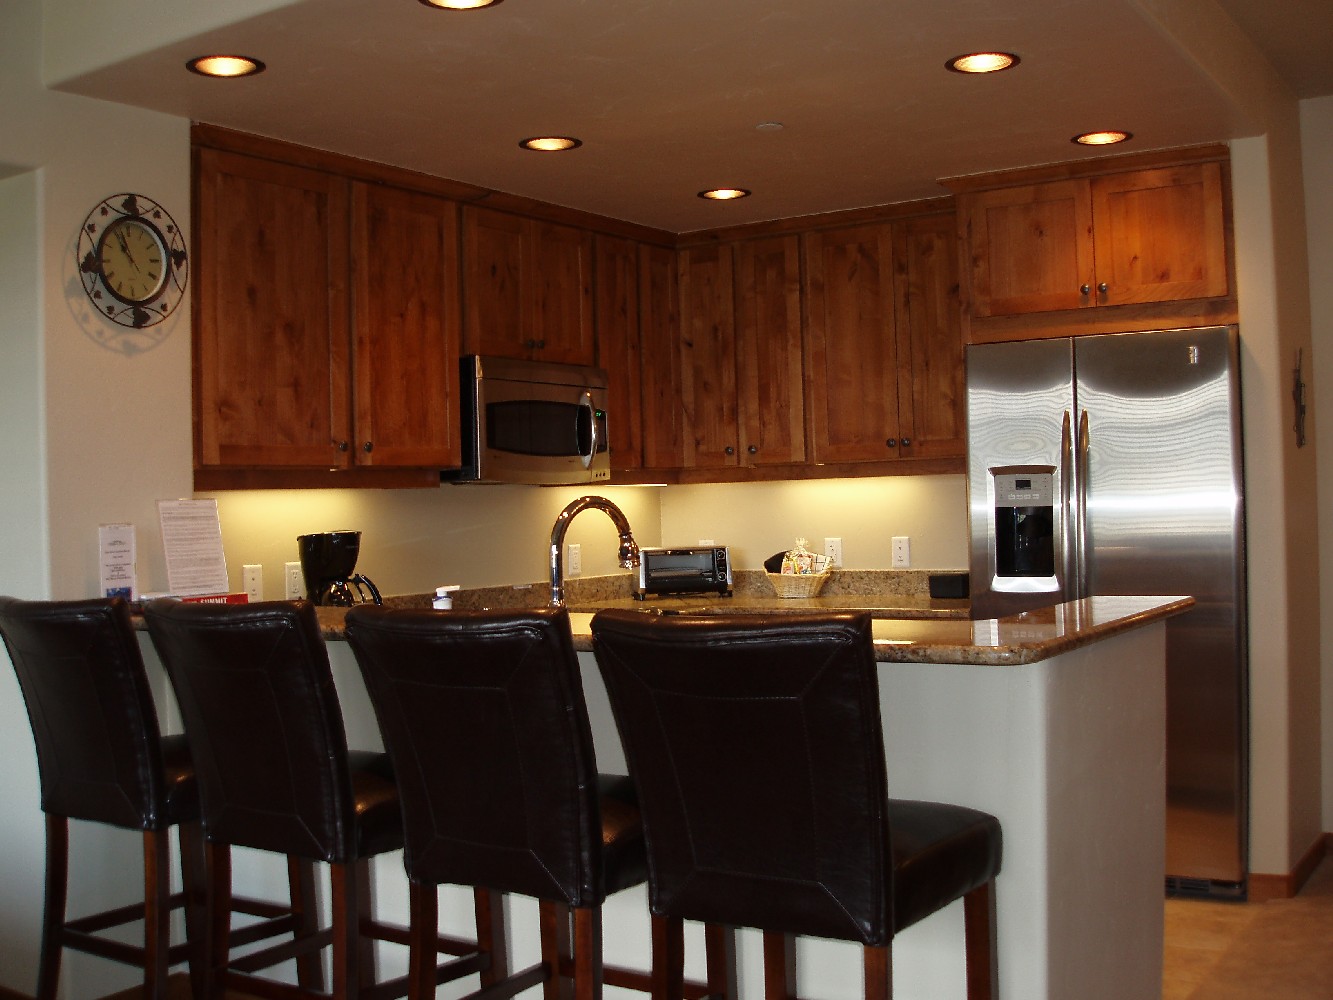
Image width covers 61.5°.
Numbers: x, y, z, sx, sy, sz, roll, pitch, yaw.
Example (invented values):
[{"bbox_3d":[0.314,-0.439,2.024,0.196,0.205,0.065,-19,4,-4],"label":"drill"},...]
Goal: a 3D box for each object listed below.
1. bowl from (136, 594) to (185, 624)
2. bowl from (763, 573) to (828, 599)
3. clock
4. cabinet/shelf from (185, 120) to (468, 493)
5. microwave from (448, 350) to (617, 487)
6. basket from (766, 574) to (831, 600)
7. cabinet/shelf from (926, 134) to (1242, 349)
[{"bbox_3d":[-1.308,0.282,2.904,0.112,0.109,0.029,6,-2,25],"label":"bowl"},{"bbox_3d":[0.638,0.412,5.439,0.270,0.119,0.123,-2,1,5],"label":"bowl"},{"bbox_3d":[-1.729,-0.762,3.583,0.057,0.584,0.499,-5,-1,42],"label":"clock"},{"bbox_3d":[-1.318,-0.667,4.251,0.445,1.247,1.226,4,6,35],"label":"cabinet/shelf"},{"bbox_3d":[-0.615,-0.332,4.875,0.395,0.489,0.754,1,3,43],"label":"microwave"},{"bbox_3d":[0.640,0.412,5.445,0.272,0.119,0.135,-2,1,4],"label":"basket"},{"bbox_3d":[1.792,-1.059,4.617,1.075,0.688,0.403,4,18,41],"label":"cabinet/shelf"}]
